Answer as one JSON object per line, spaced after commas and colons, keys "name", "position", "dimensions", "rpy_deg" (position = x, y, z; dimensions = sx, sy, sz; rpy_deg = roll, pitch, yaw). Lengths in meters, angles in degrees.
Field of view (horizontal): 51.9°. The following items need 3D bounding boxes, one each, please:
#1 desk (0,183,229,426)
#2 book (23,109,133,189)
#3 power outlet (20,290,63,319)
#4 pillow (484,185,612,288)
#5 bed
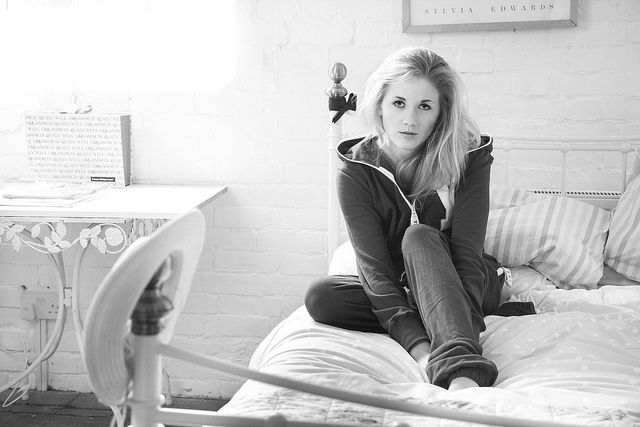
{"name": "desk", "position": [-0.714, 0.351, 2.695], "dimensions": [0.924, 0.661, 0.872], "rpy_deg": [-1, -1, 10]}
{"name": "book", "position": [-0.991, -0.259, 2.698], "dimensions": [0.368, 0.262, 0.107], "rpy_deg": [0, 2, 4]}
{"name": "power outlet", "position": [-1.202, 0.395, 2.852], "dimensions": [0.183, 0.127, 0.125], "rpy_deg": [1, 4, 2]}
{"name": "pillow", "position": [0.817, 0.099, 2.366], "dimensions": [0.399, 0.117, 0.338], "rpy_deg": [13, 47, -1]}
{"name": "bed", "position": [0.175, 0.122, 1.797], "dimensions": [0.772, 0.737, 1.258], "rpy_deg": [2, 17, 11]}
